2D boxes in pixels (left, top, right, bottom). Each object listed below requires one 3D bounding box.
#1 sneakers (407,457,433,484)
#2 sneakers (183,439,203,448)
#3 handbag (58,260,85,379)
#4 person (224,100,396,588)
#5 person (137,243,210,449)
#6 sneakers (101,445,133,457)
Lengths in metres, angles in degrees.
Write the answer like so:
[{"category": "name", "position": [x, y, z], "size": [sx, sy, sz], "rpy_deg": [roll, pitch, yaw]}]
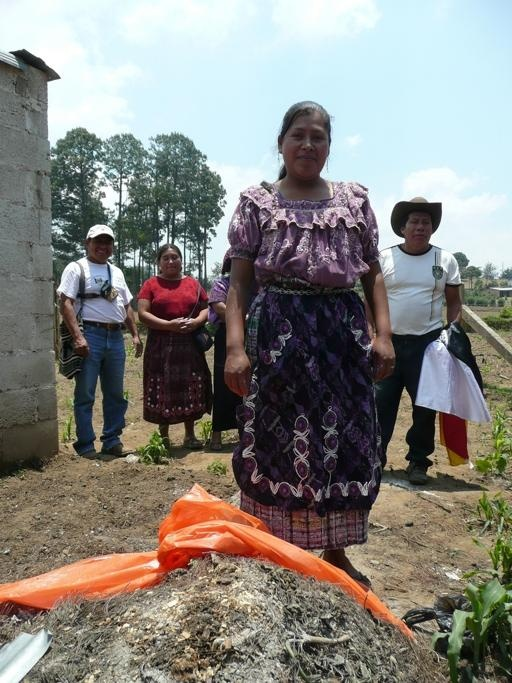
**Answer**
[{"category": "sneakers", "position": [1.222, 0.969, 4.400], "size": [0.172, 0.168, 0.307], "rpy_deg": [2, -2, 14]}, {"category": "sneakers", "position": [-0.580, 0.976, 5.557], "size": [0.079, 0.062, 0.170], "rpy_deg": [3, -9, -28]}, {"category": "handbag", "position": [-1.504, -0.190, 4.835], "size": [0.193, 0.873, 0.299], "rpy_deg": [4, -2, -22]}, {"category": "person", "position": [0.220, 0.028, 2.419], "size": [0.722, 1.879, 0.571], "rpy_deg": [-1, 1, -15]}, {"category": "person", "position": [-0.748, 0.051, 5.505], "size": [0.751, 1.531, 0.482], "rpy_deg": [3, -1, -13]}, {"category": "sneakers", "position": [-1.208, 0.950, 5.109], "size": [0.265, 0.095, 0.101], "rpy_deg": [-1, -6, 11]}]
